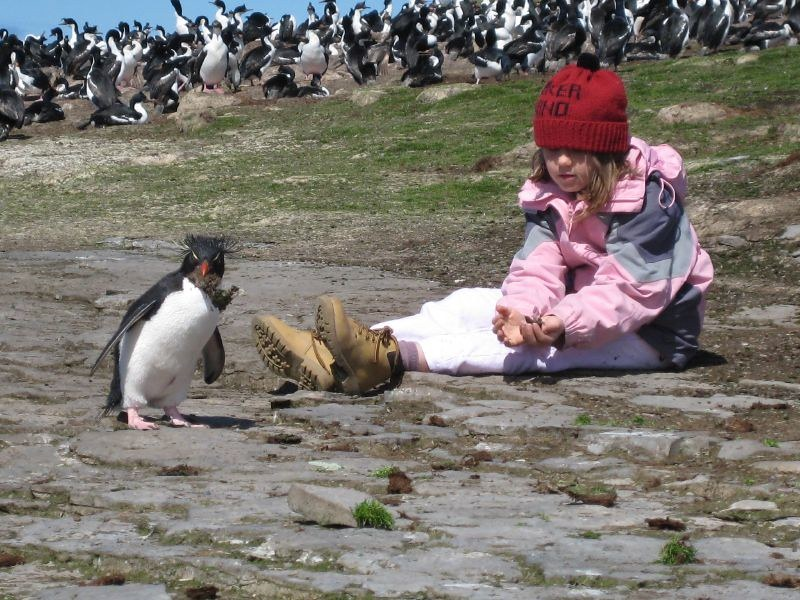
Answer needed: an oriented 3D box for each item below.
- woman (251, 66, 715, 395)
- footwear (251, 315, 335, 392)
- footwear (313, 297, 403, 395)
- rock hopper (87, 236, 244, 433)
[{"bbox_3d":[0.691,-0.425,8.938,2.305,1.919,0.875,0,17,1],"label":"woman"},{"bbox_3d":[-0.616,0.326,9.043,0.575,0.177,0.296,33,35,19],"label":"footwear"},{"bbox_3d":[-0.211,0.262,8.906,0.502,0.582,0.260,-2,17,-7],"label":"footwear"},{"bbox_3d":[-1.256,0.181,8.435,0.780,1.013,0.478,-5,17,-15],"label":"rock hopper"}]
